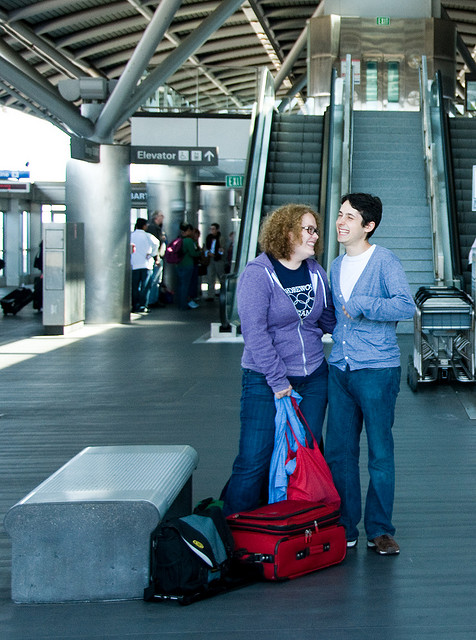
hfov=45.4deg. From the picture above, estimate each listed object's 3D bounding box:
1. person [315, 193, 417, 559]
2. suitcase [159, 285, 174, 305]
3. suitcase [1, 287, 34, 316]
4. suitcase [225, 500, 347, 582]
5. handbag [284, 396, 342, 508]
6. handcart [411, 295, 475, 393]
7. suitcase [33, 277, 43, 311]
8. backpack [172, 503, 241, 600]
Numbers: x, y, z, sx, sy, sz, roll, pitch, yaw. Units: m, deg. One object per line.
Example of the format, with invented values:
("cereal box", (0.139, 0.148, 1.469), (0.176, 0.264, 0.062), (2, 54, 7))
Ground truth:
("person", (0.652, 0.232, 2.902), (0.390, 1.513, 1.406), (2, -1, 13))
("suitcase", (-2.188, -0.739, 17.341), (0.402, 0.507, 0.583), (4, 11, 20))
("suitcase", (-5.844, -0.471, 15.001), (0.526, 0.528, 1.046), (2, -1, 5))
("suitcase", (0.174, 0.842, 2.199), (0.467, 0.213, 0.344), (8, -13, -39))
("handbag", (0.310, 0.596, 2.317), (0.226, 0.348, 0.114), (2, -1, 4))
("handcart", (2.501, 0.239, 6.654), (0.959, 1.003, 0.771), (2, 10, 5))
("suitcase", (-5.528, -0.710, 15.732), (0.183, 0.628, 0.733), (2, -1, -20))
("backpack", (-0.125, 0.791, 1.957), (0.155, 0.248, 0.342), (-14, -16, 24))
